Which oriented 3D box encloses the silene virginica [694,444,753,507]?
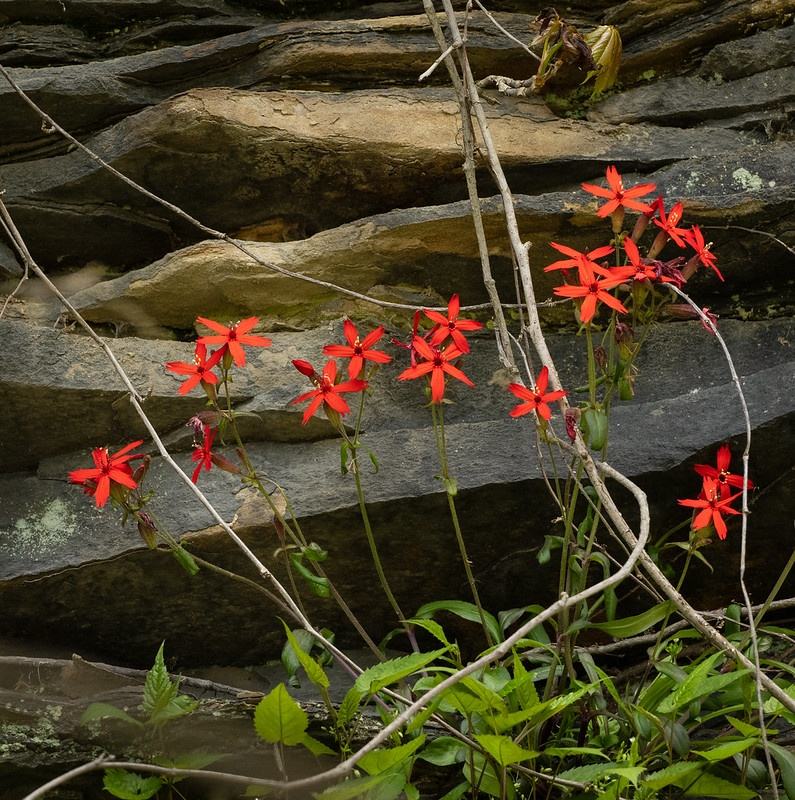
[{"bbox_3d":[0.927,0.220,3.250,0.246,0.157,0.060,3,-16,-16],"label":"silene virginica"}]

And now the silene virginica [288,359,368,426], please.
[{"bbox_3d":[-0.189,-0.036,3.028,0.236,0.153,0.097,20,35,25],"label":"silene virginica"}]

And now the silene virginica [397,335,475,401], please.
[{"bbox_3d":[0.104,-0.092,3.039,0.223,0.083,0.172,-9,59,1],"label":"silene virginica"}]

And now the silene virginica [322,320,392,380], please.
[{"bbox_3d":[-0.118,-0.123,3.076,0.262,0.093,0.177,8,34,7],"label":"silene virginica"}]

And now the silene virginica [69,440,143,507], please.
[{"bbox_3d":[-0.809,0.188,3.039,0.231,0.185,0.126,24,31,33],"label":"silene virginica"}]

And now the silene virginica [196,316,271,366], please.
[{"bbox_3d":[-0.457,-0.161,3.047,0.202,0.077,0.200,19,30,34],"label":"silene virginica"}]
